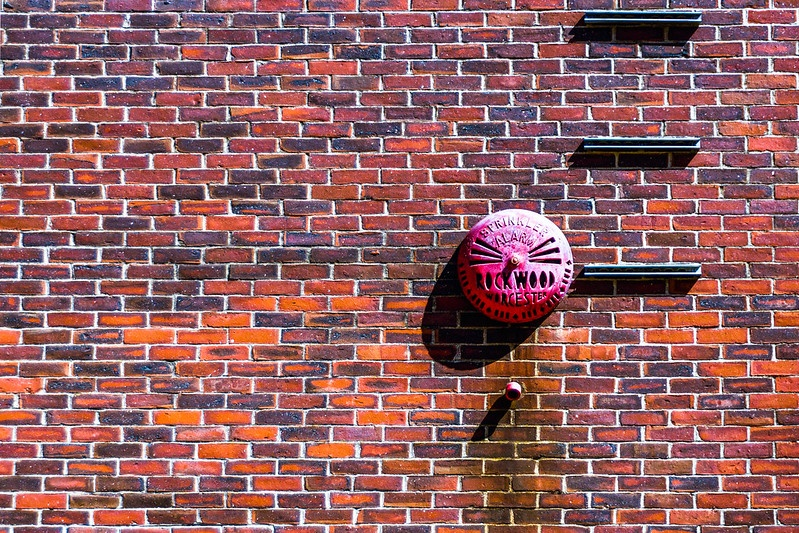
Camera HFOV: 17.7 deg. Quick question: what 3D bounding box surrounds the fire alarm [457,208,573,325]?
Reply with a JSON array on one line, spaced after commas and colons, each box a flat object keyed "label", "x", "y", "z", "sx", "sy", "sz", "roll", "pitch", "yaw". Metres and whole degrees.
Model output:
[{"label": "fire alarm", "x": 0.636, "y": 0.033, "z": 14.254, "sx": 1.066, "sy": 0.167, "sz": 0.621, "roll": 2, "pitch": 81, "yaw": 1}]
